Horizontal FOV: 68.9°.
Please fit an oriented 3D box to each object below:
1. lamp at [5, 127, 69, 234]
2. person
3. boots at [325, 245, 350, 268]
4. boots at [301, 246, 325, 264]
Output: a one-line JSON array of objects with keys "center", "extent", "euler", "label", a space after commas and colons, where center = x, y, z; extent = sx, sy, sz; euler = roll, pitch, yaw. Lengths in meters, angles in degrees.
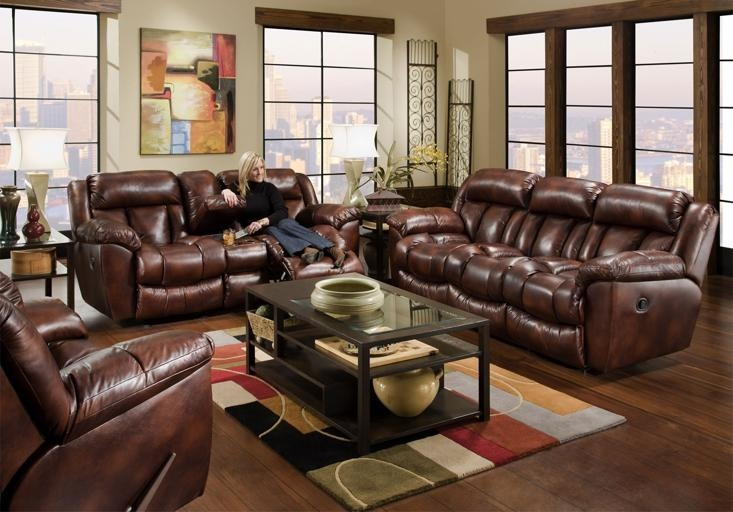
[{"center": [-3.026, -0.741, 5.008], "extent": [0.467, 0.921, 0.957], "euler": [-8, 15, -28], "label": "lamp"}, {"center": [-0.824, -0.402, 5.146], "extent": [1.429, 0.772, 0.734], "euler": [27, 29, 33], "label": "person"}, {"center": [-0.270, -0.015, 4.977], "extent": [0.221, 0.097, 0.304], "euler": [26, 4, -3], "label": "boots"}, {"center": [-0.498, -0.010, 4.918], "extent": [0.098, 0.100, 0.248], "euler": [-12, 8, 10], "label": "boots"}]
